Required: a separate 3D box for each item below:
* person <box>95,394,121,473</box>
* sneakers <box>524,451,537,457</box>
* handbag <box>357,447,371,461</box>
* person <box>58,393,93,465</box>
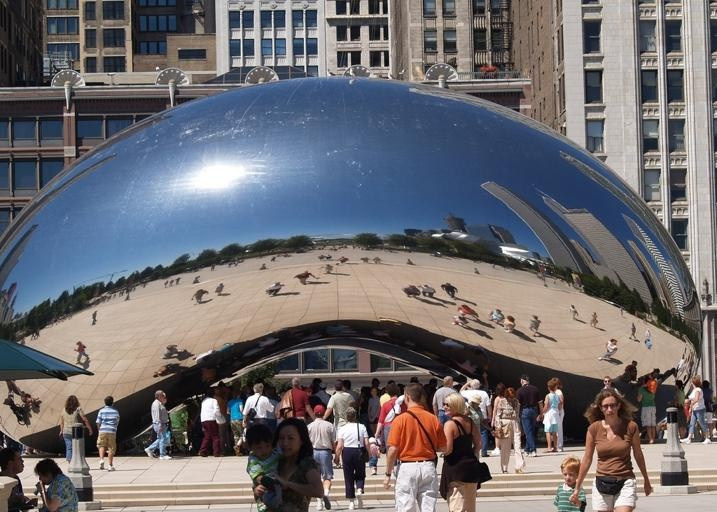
[{"bbox_3d":[-6.706,4.768,35.600,0.573,1.968,0.843,-3,-9,-11],"label":"person"},{"bbox_3d":[4.577,5.417,36.352,0.369,0.135,0.117,4,-1,23],"label":"sneakers"},{"bbox_3d":[0.085,4.856,32.466,0.123,0.345,0.296,-9,-10,25],"label":"handbag"},{"bbox_3d":[-7.589,4.633,35.658,0.804,1.780,0.994,-2,-9,-12],"label":"person"}]
